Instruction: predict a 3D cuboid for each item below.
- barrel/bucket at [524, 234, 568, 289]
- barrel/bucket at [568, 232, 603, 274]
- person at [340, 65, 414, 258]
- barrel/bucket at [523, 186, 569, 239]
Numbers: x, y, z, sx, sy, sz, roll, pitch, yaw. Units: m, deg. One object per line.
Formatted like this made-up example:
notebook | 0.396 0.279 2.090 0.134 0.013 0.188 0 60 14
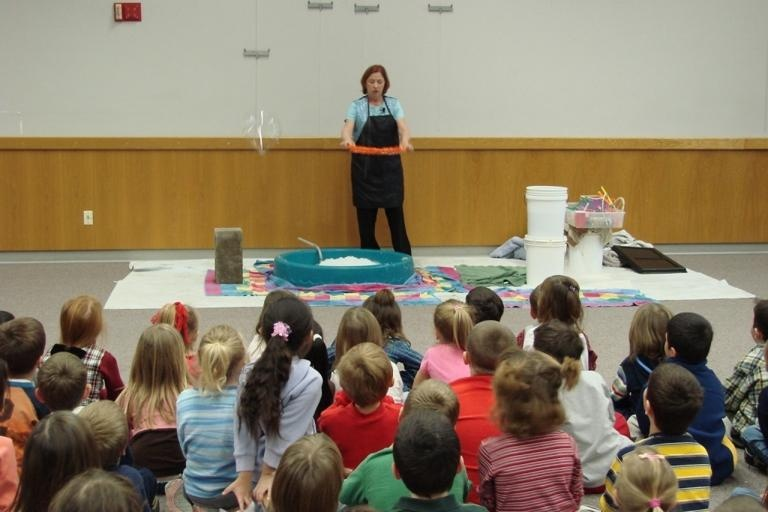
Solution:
barrel/bucket | 1.429 0.044 9.278 0.355 0.427 0.404 0 4 -4
barrel/bucket | 1.827 -0.055 9.603 0.304 0.405 0.331 -1 5 0
person | -0.047 -0.901 10.010 0.652 1.751 0.496 -2 2 1
barrel/bucket | 1.439 -0.394 9.234 0.362 0.489 0.406 -1 5 -11
